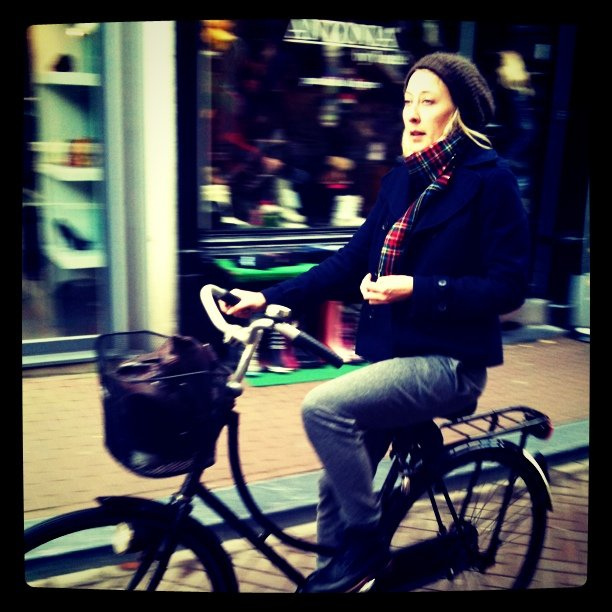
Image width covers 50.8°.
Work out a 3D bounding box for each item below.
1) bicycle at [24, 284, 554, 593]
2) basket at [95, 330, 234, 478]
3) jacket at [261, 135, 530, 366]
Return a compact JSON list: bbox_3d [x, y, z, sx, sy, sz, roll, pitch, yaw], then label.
[{"bbox_3d":[0.041,0.567,2.908,2.213,1.263,0.938,4,4,-12],"label":"bicycle"},{"bbox_3d":[-0.524,0.310,2.211,0.410,0.432,0.513,2,2,-36],"label":"basket"},{"bbox_3d":[0.381,-0.230,2.421,0.951,0.810,0.664,12,15,26],"label":"jacket"}]
